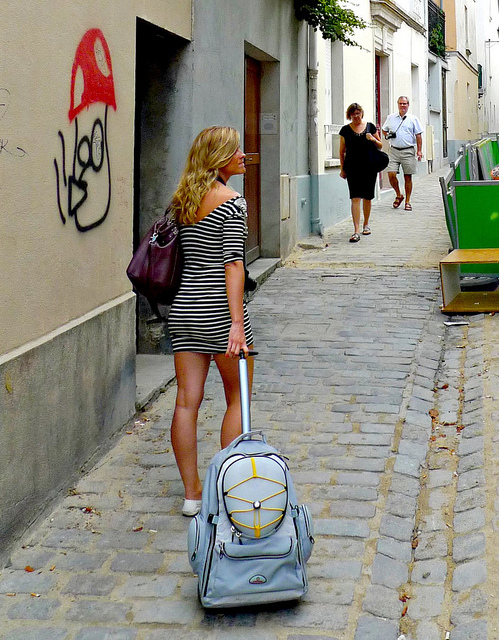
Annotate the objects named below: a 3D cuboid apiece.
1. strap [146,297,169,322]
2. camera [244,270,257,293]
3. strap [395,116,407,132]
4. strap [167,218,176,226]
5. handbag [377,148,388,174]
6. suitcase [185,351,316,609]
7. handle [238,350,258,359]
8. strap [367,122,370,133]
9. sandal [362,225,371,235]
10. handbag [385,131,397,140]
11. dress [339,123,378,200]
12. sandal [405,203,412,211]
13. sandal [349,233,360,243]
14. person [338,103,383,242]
[{"bbox_3d":[-0.426,-0.061,3.484,0.025,0.122,0.111,-21,6,-7],"label":"strap"},{"bbox_3d":[-0.003,-0.176,3.342,0.077,0.093,0.052,5,-1,-12],"label":"camera"},{"bbox_3d":[2.796,-3.649,13.625,0.030,0.313,0.040,24,3,-11],"label":"strap"},{"bbox_3d":[-0.367,-0.444,3.337,0.022,0.038,0.014,1,-19,7],"label":"strap"},{"bbox_3d":[2.007,-2.409,11.141,0.142,0.258,0.215,0,10,10],"label":"handbag"},{"bbox_3d":[-0.016,0.502,2.589,0.373,0.969,0.357,5,-13,-33],"label":"suitcase"},{"bbox_3d":[-0.014,0.140,3.042,0.096,0.035,0.032,1,1,3],"label":"handle"},{"bbox_3d":[1.769,-2.892,11.037,0.045,0.152,0.134,-1,10,6],"label":"strap"},{"bbox_3d":[1.854,-1.451,11.759,0.132,0.146,0.364,0,11,12],"label":"sandal"},{"bbox_3d":[2.633,-3.448,13.726,0.142,0.075,0.107,-1,-6,36],"label":"handbag"},{"bbox_3d":[1.671,-2.373,11.297,0.468,1.180,0.558,5,18,14],"label":"dress"},{"bbox_3d":[3.110,-2.244,14.542,0.137,0.148,0.458,-1,8,3],"label":"sandal"},{"bbox_3d":[1.589,-1.264,11.217,0.155,0.134,0.251,-1,11,7],"label":"sandal"},{"bbox_3d":[1.684,-2.246,11.266,0.618,2.025,0.752,-1,9,8],"label":"person"}]
